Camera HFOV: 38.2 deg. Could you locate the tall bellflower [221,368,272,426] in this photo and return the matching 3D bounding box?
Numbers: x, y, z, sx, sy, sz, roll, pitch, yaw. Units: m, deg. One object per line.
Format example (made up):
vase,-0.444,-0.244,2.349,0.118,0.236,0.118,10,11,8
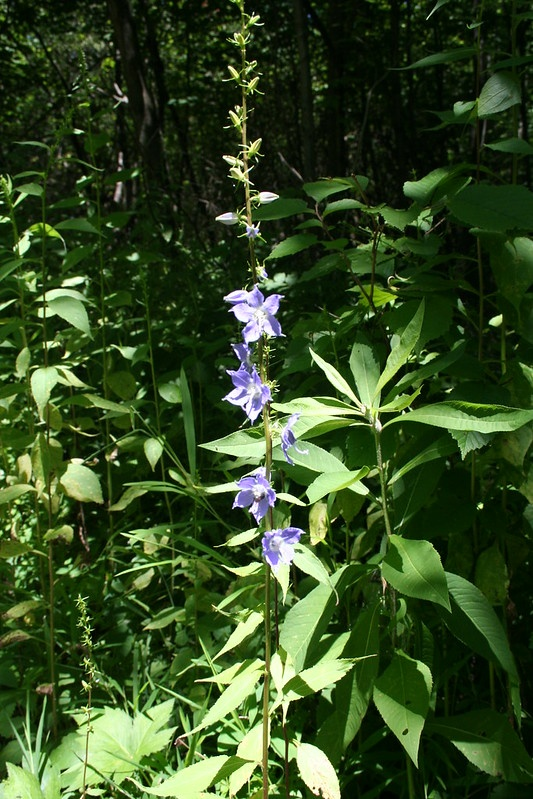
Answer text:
tall bellflower,-0.037,-0.010,1.340,0.091,0.088,0.039,-9,2,3
